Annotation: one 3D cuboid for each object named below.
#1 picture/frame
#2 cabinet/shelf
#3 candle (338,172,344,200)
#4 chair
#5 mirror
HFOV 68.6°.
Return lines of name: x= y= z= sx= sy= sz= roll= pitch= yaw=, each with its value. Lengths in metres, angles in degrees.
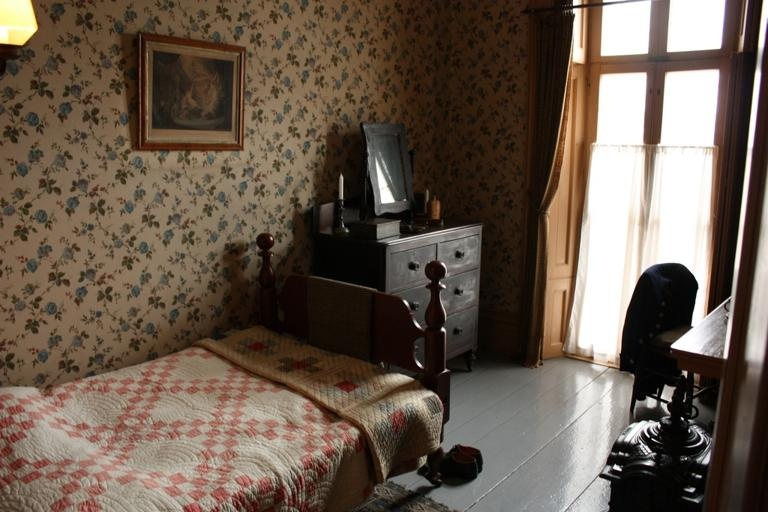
picture/frame: x=-1.283 y=-1.093 z=3.668 sx=0.785 sy=0.799 sz=0.059 roll=-5 pitch=10 yaw=-40
cabinet/shelf: x=0.200 y=0.293 z=4.767 sx=0.742 sy=1.485 sz=1.307 roll=10 pitch=16 yaw=40
candle: x=-0.316 y=-0.513 z=4.216 sx=0.027 sy=0.198 sz=0.100 roll=-1 pitch=9 yaw=-12
chair: x=2.247 y=0.651 z=4.258 sx=0.737 sy=1.205 sz=0.763 roll=9 pitch=13 yaw=30
mirror: x=0.018 y=-0.705 z=4.653 sx=0.065 sy=0.866 sz=0.672 roll=-6 pitch=5 yaw=40
